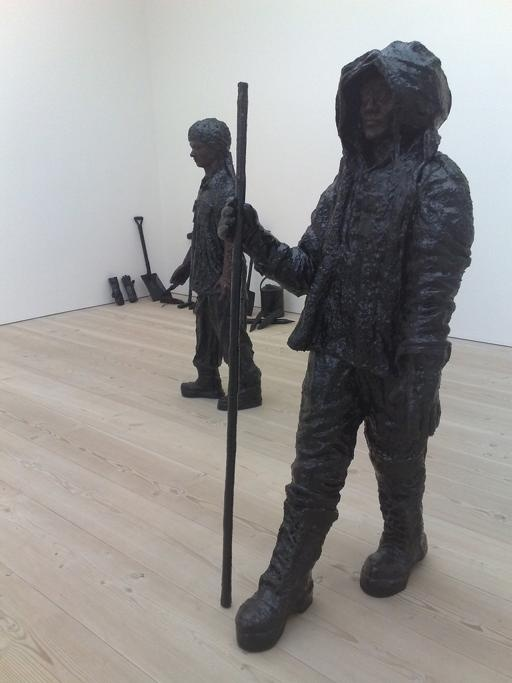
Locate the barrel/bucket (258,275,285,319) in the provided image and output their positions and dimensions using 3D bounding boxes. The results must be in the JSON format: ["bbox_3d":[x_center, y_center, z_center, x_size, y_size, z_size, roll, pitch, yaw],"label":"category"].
[{"bbox_3d":[0.142,-0.368,5.493,0.233,0.342,0.363,0,9,3],"label":"barrel/bucket"}]

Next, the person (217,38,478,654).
[{"bbox_3d":[0.255,0.037,1.648,0.679,1.525,0.417,-3,20,-12],"label":"person"}]

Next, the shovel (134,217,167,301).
[{"bbox_3d":[-1.084,-0.884,6.582,0.293,0.838,0.551,-7,21,-22],"label":"shovel"}]
